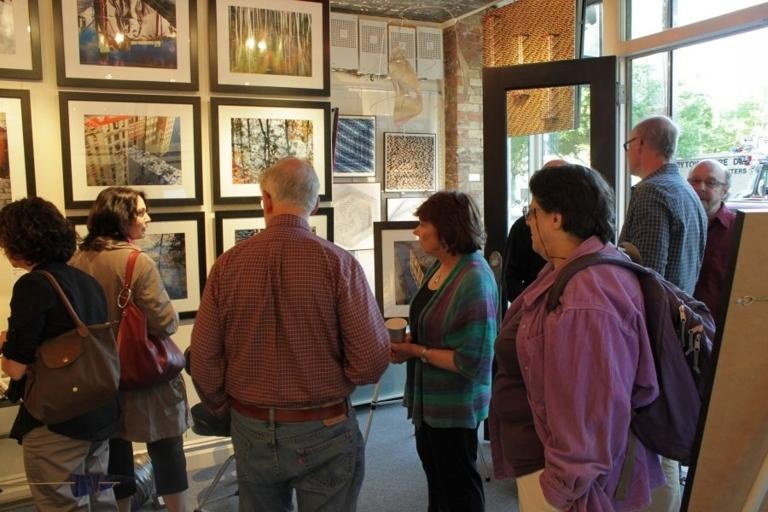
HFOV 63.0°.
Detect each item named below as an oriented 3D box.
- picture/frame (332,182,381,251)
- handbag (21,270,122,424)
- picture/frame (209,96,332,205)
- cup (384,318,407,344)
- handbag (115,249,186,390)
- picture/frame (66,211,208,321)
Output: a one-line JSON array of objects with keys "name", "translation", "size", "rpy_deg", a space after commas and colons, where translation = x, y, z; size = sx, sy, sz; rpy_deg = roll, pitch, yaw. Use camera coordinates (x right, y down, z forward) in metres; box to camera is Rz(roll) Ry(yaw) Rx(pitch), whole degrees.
[{"name": "picture/frame", "translation": [-0.300, -0.386, 6.157], "size": [0.746, 0.849, 0.063], "rpy_deg": [0, -5, -33]}, {"name": "handbag", "translation": [-1.637, 0.458, 3.222], "size": [0.450, 0.763, 0.182], "rpy_deg": [-5, 13, -23]}, {"name": "picture/frame", "translation": [-0.838, -0.750, 4.291], "size": [0.958, 0.785, 0.074], "rpy_deg": [-1, 5, -16]}, {"name": "cup", "translation": [0.072, 0.404, 3.350], "size": [0.123, 0.094, 0.114], "rpy_deg": [-3, 3, 0]}, {"name": "handbag", "translation": [-1.435, 0.397, 3.691], "size": [0.194, 0.859, 0.427], "rpy_deg": [10, 15, 38]}, {"name": "picture/frame", "translation": [-1.551, 0.047, 3.825], "size": [0.790, 0.748, 0.037], "rpy_deg": [-1, -2, -15]}]
